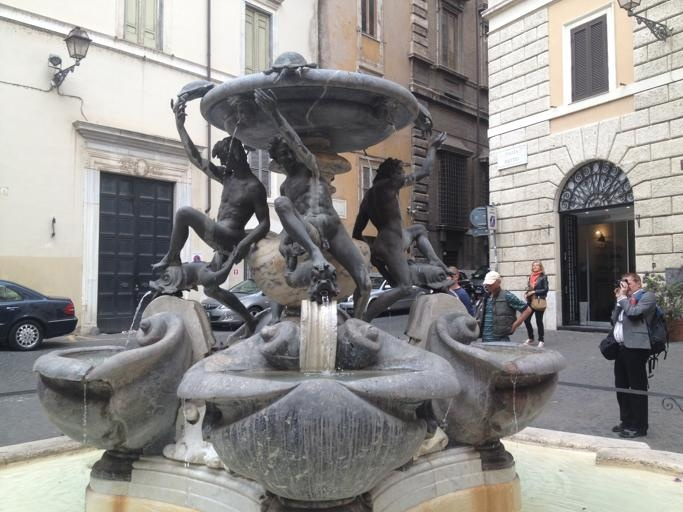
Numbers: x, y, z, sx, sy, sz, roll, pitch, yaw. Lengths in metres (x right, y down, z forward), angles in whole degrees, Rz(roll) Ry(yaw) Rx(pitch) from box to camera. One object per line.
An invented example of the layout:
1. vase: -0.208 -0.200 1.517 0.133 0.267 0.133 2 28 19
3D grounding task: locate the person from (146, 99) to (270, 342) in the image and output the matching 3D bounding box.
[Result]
1. person: -1.338 -0.636 7.028 1.141 2.090 0.667 0 0 -18

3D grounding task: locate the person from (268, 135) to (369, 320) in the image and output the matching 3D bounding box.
1. person: -0.224 -0.282 6.621 0.980 1.484 0.976 0 0 -6

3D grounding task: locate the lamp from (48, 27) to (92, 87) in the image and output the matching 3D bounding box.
1. lamp: -6.957 -5.124 17.437 1.060 1.627 0.731 0 0 23

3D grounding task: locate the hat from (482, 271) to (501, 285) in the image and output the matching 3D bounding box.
1. hat: 2.227 0.325 9.958 0.178 0.178 0.279 -8 -8 38

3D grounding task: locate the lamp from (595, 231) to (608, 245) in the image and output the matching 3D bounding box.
1. lamp: 7.413 -0.512 19.221 0.203 0.430 0.312 0 -8 -22

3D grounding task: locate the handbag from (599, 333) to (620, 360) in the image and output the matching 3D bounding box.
1. handbag: 3.504 1.195 8.819 0.308 0.352 0.239 -1 -12 21

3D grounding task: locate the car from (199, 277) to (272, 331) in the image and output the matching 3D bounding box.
1. car: -2.720 1.145 17.803 2.594 1.359 1.466 6 -9 -43
